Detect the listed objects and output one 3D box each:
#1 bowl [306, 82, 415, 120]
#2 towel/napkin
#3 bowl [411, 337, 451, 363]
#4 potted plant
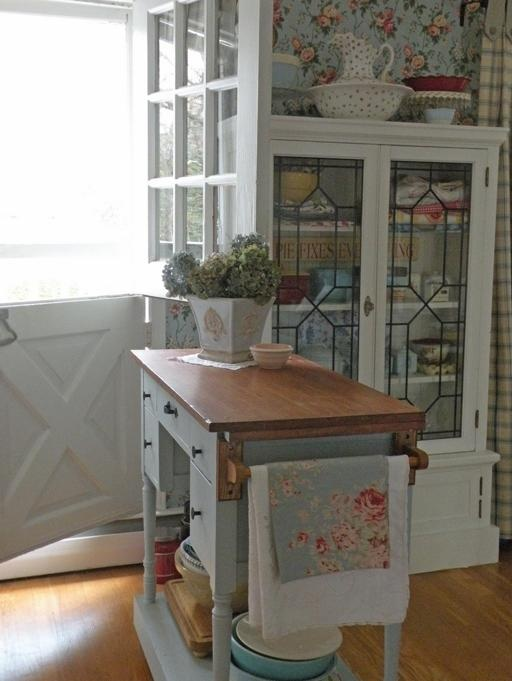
[{"bbox_3d":[0.371,-0.849,2.221,0.236,0.068,0.224,-2,11,0],"label":"bowl"},{"bbox_3d":[0.120,0.344,1.073,0.359,0.328,0.091,-2,2,-18],"label":"towel/napkin"},{"bbox_3d":[0.689,0.039,2.462,0.121,0.070,0.117,1,6,0],"label":"bowl"},{"bbox_3d":[-0.082,-0.095,1.739,0.326,0.385,0.391,-3,8,-27],"label":"potted plant"}]
